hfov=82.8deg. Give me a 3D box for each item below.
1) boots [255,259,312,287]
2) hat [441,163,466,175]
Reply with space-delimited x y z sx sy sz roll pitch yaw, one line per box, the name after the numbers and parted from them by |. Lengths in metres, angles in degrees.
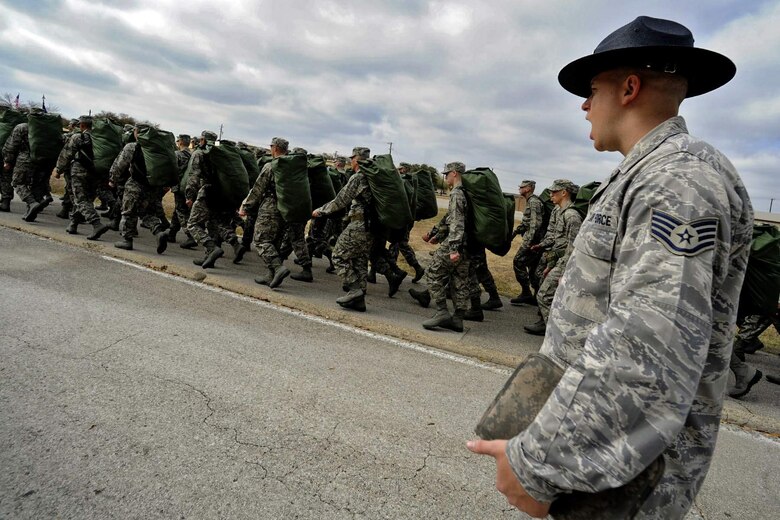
-2.114 0.307 8.626 1.139 0.448 0.338 1 4 -5 | boots
1.069 -1.505 7.289 0.293 0.211 0.837 9 10 5 | hat
